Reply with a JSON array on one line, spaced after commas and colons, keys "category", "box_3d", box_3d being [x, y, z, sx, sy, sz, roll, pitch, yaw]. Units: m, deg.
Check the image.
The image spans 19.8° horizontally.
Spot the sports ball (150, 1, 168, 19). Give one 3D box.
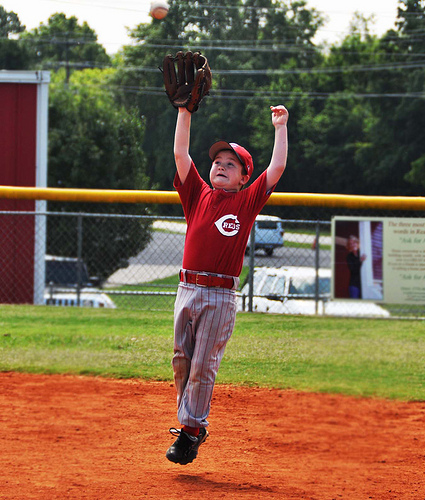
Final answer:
[{"category": "sports ball", "box_3d": [-0.617, -2.760, 14.003, 0.197, 0.184, 0.354, 3, -1, -4]}]

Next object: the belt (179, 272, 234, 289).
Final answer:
[{"category": "belt", "box_3d": [-0.017, 0.258, 10.034, 0.416, 0.110, 0.059, 3, -1, 2]}]

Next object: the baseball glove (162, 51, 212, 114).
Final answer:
[{"category": "baseball glove", "box_3d": [-0.210, -1.410, 10.176, 0.434, 0.465, 0.316, 3, -1, 9]}]
